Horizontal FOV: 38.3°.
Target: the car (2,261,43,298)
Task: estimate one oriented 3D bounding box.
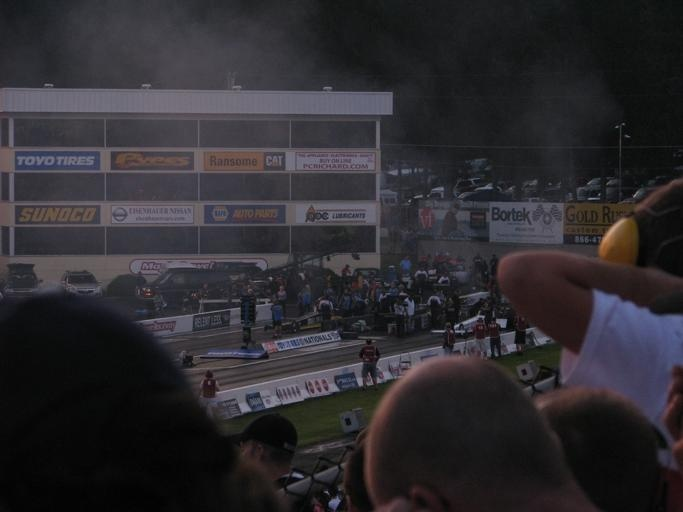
[{"bbox_3d":[-11.667,0.817,36.219,1.264,1.098,2.152,0,-2,-14],"label":"car"}]

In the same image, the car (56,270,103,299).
[{"bbox_3d":[-7.664,0.755,29.203,1.258,0.944,2.455,-1,-3,-18],"label":"car"}]

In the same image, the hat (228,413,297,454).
[{"bbox_3d":[-0.474,1.037,5.962,0.486,0.240,0.317,7,-12,12],"label":"hat"}]

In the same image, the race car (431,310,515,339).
[{"bbox_3d":[3.883,2.089,29.756,1.627,0.482,0.930,-3,-1,-43],"label":"race car"}]

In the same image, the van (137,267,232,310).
[{"bbox_3d":[-5.752,1.201,37.474,2.875,1.357,1.605,1,-1,-7],"label":"van"}]
